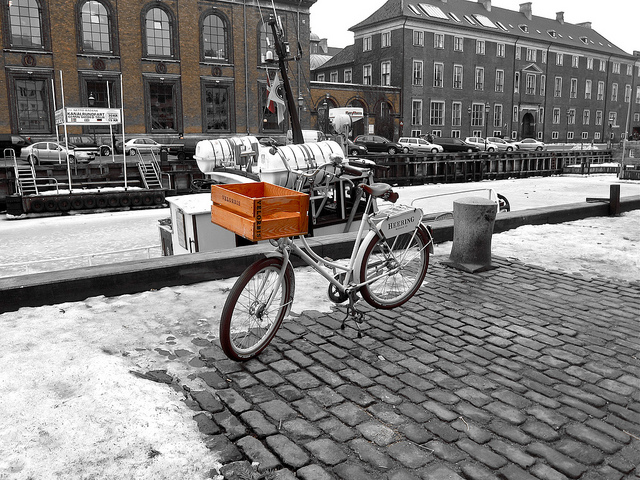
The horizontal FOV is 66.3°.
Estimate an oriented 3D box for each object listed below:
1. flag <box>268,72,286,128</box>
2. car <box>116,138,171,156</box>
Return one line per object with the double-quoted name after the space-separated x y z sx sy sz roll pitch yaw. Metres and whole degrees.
-1.776 -5.741 19.911 0.598 1.945 2.244 -3 12 -4 "flag"
-12.503 -6.562 34.379 3.307 1.074 7.061 -6 13 -20 "car"
